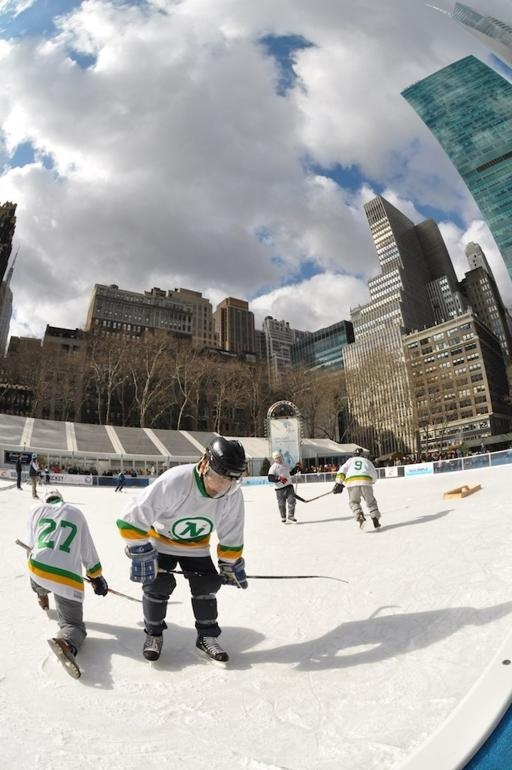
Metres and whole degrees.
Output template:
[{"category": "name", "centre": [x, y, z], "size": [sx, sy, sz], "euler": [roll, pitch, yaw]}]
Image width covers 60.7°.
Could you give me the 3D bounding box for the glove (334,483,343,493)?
[{"category": "glove", "centre": [1.607, 2.011, 8.589], "size": [0.169, 0.161, 0.200], "euler": [3, -6, 9]}]

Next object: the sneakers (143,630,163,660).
[{"category": "sneakers", "centre": [-0.731, 1.858, 3.125], "size": [0.116, 0.176, 0.183], "euler": [-1, -9, -9]}]

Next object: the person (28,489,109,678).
[{"category": "person", "centre": [-1.512, 1.500, 3.558], "size": [0.599, 1.168, 1.850], "euler": [3, -9, -27]}]

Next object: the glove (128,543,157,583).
[{"category": "glove", "centre": [-0.818, 1.307, 3.261], "size": [0.256, 0.273, 0.299], "euler": [-5, -21, -10]}]

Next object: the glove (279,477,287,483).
[{"category": "glove", "centre": [0.669, 2.326, 10.760], "size": [0.163, 0.143, 0.064], "euler": [-5, -50, 7]}]

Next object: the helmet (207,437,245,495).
[{"category": "helmet", "centre": [-0.217, 0.597, 3.286], "size": [0.282, 0.409, 0.264], "euler": [0, -9, -13]}]

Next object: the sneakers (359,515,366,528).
[{"category": "sneakers", "centre": [1.910, 2.402, 7.799], "size": [0.109, 0.195, 0.160], "euler": [3, -11, -29]}]
